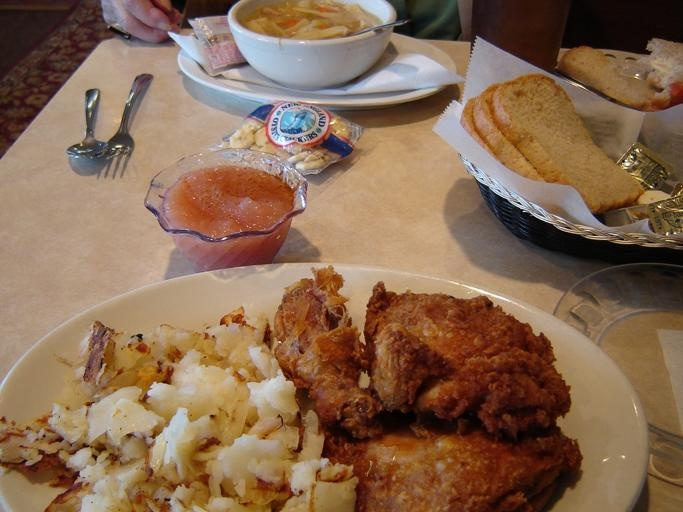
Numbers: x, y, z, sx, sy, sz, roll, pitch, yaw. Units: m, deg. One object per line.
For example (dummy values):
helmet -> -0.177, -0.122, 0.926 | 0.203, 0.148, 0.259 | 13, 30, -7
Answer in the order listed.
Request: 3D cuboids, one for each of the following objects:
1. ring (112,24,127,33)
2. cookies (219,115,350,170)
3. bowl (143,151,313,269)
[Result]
ring -> -1.381, -1.406, 3.535 | 0.081, 0.021, 0.053 | 31, 29, -23
cookies -> -0.283, -0.516, 2.634 | 0.409, 0.123, 0.388 | 26, 50, 16
bowl -> -0.444, -0.176, 2.242 | 0.515, 0.250, 0.520 | 1, 47, -2
